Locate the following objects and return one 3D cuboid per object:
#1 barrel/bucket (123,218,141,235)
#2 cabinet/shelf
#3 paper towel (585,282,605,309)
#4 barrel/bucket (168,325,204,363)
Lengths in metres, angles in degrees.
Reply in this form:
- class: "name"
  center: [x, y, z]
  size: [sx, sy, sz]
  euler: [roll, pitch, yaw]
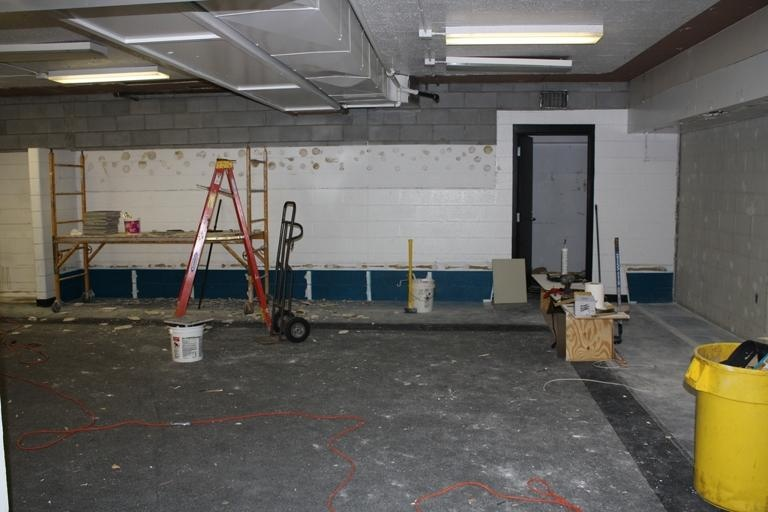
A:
- class: "barrel/bucket"
  center: [-4.003, -0.476, 9.392]
  size: [0.278, 0.190, 0.250]
  euler: [0, 4, -5]
- class: "cabinet/shelf"
  center: [2.368, 0.799, 7.165]
  size: [0.638, 0.827, 1.311]
  euler: [0, 4, -9]
- class: "paper towel"
  center: [2.441, 0.452, 6.801]
  size: [0.219, 0.277, 0.345]
  euler: [2, 4, 18]
- class: "barrel/bucket"
  center: [-2.325, 1.031, 7.032]
  size: [0.471, 0.391, 0.428]
  euler: [0, 1, -11]
